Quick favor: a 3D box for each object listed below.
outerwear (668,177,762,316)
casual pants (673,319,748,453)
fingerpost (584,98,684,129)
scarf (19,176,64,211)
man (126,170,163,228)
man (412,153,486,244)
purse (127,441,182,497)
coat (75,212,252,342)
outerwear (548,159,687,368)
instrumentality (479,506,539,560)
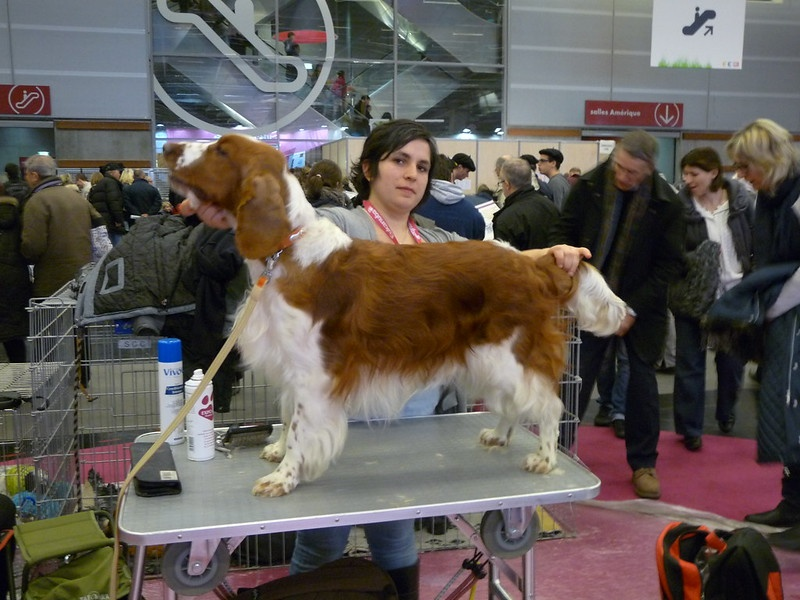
[{"bbox_3d":[2.842,-0.448,6.011,0.902,1.329,0.434,0,-2,-5],"label":"outerwear"},{"bbox_3d":[2.998,0.629,6.227,0.439,1.530,0.380,-10,36,16],"label":"casual pants"},{"bbox_3d":[6.609,-5.284,18.444,2.909,0.780,0.502,-2,11,-13],"label":"fingerpost"},{"bbox_3d":[-4.161,-1.234,7.413,0.511,0.239,0.434,-18,10,31],"label":"scarf"},{"bbox_3d":[-4.322,-1.613,10.861,0.547,1.304,0.446,-2,36,-26],"label":"man"},{"bbox_3d":[0.390,-0.761,5.795,0.625,0.987,0.468,1,28,5],"label":"man"},{"bbox_3d":[-1.005,0.674,2.659,0.174,0.047,0.376,4,12,-30],"label":"purse"},{"bbox_3d":[-1.620,-0.186,4.492,1.091,0.457,0.948,1,10,-1],"label":"coat"},{"bbox_3d":[1.641,-0.287,5.188,0.999,1.631,0.809,12,26,17],"label":"outerwear"},{"bbox_3d":[0.460,0.938,2.685,0.234,0.265,0.082,-11,16,-3],"label":"instrumentality"}]
